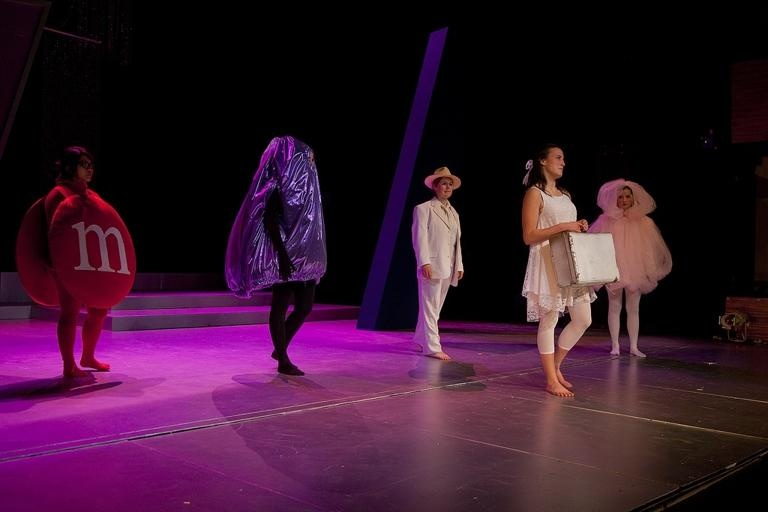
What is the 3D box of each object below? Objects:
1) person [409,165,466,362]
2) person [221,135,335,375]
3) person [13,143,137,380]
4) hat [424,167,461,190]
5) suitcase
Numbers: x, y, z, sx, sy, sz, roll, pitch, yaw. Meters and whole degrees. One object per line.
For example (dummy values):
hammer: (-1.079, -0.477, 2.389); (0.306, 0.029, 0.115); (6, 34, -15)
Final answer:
person: (0.520, 0.041, 5.491); (0.548, 1.315, 0.535); (6, 3, -2)
person: (-0.854, -0.012, 4.331); (0.766, 1.897, 0.388); (5, 4, -17)
person: (-2.262, 0.060, 4.007); (0.742, 1.739, 0.644); (4, 4, -34)
hat: (0.611, -0.869, 5.768); (0.360, 0.146, 0.386); (3, -15, 1)
suitcase: (1.477, 0.019, 4.038); (0.609, 0.384, 0.233); (-3, -9, -39)
